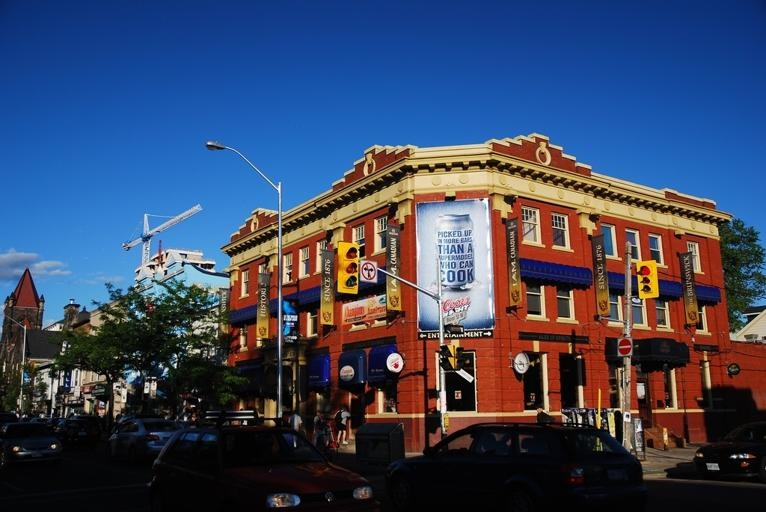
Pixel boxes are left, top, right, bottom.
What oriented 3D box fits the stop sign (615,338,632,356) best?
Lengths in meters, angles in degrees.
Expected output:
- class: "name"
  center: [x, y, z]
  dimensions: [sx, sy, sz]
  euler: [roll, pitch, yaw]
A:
- class: "stop sign"
  center: [10.636, 3.918, 33.349]
  dimensions: [0.487, 0.831, 0.821]
  euler: [4, -19, -10]
